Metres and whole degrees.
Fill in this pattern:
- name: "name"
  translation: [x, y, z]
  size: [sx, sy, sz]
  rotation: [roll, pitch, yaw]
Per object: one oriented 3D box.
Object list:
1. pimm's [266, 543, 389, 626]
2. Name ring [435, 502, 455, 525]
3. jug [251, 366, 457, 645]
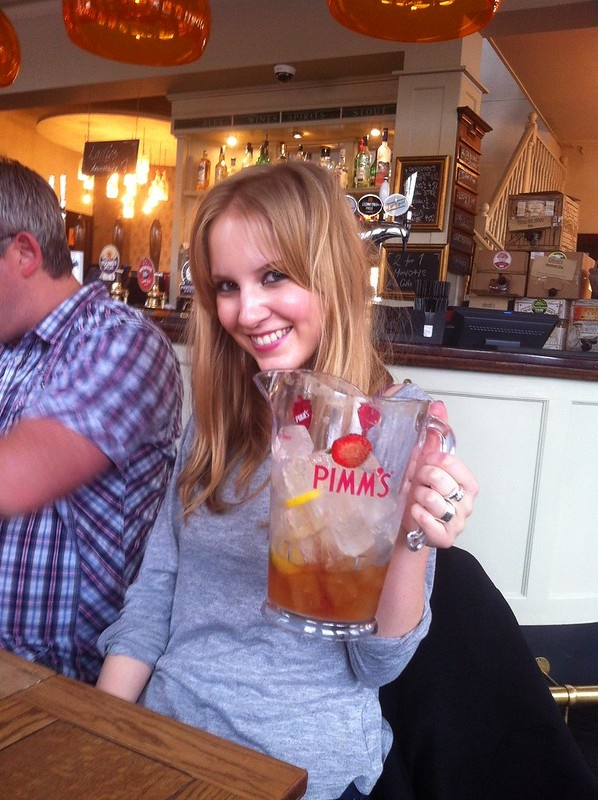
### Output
- name: "pimm's"
  translation: [0.028, 0.144, 0.459]
  size: [0.067, 0.053, 0.071]
  rotation: [9, -13, -18]
- name: "Name ring"
  translation: [0.124, 0.093, 0.489]
  size: [0.016, 0.014, 0.013]
  rotation: [15, 14, 42]
- name: "jug"
  translation: [0.069, 0.092, 0.515]
  size: [0.216, 0.228, 0.125]
  rotation: [7, 1, -4]
